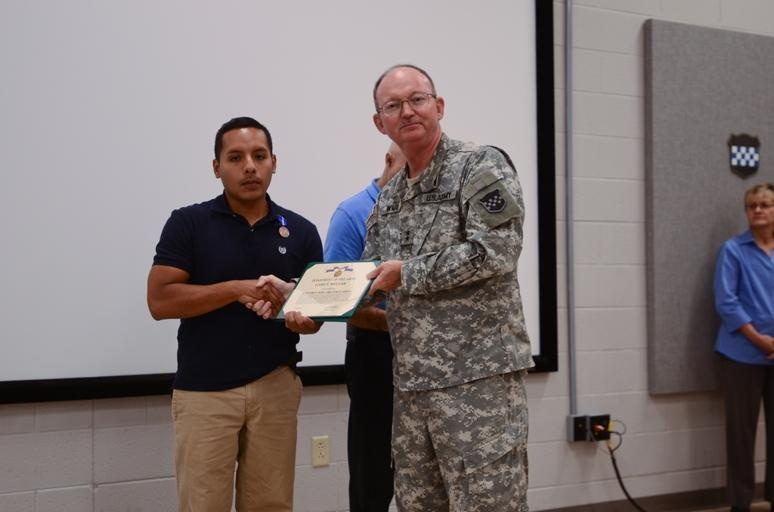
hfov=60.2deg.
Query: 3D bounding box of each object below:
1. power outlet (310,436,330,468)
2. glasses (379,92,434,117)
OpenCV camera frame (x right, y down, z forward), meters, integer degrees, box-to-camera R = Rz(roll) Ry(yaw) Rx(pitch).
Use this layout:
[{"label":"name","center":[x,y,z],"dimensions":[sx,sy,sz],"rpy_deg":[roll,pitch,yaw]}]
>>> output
[{"label":"power outlet","center":[-0.384,1.146,3.912],"dimensions":[0.103,0.174,0.020],"rpy_deg":[-1,5,6]},{"label":"glasses","center":[0.087,-0.678,2.988],"dimensions":[0.134,0.042,0.136],"rpy_deg":[-20,-19,-1]}]
